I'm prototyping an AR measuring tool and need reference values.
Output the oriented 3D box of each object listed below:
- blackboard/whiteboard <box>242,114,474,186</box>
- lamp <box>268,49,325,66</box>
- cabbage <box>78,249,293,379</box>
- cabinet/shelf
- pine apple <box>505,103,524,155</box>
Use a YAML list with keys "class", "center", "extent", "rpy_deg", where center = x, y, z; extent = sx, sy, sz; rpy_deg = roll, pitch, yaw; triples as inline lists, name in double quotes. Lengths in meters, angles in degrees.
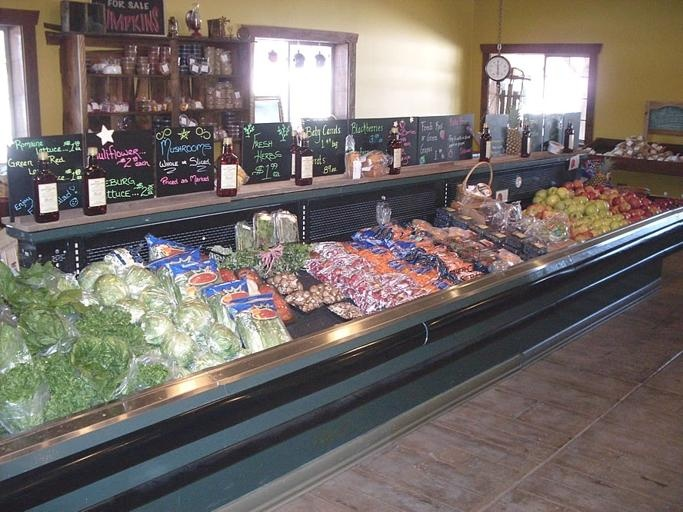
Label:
- class: "blackboard/whiteboard"
  center: [0.217, -0.787, 3.421]
  extent: [1.935, 0.412, 0.213]
  rpy_deg: [-12, 23, -36]
- class: "lamp"
  center: [-0.691, -3.019, 7.396]
  extent: [0.836, 0.236, 0.330]
  rpy_deg: [-3, 19, -13]
- class: "cabbage"
  center: [-0.644, 0.181, 1.921]
  extent: [0.616, 0.157, 0.536]
  rpy_deg: [23, 22, 34]
- class: "cabinet/shelf"
  center: [-2.296, -2.193, 6.134]
  extent: [2.297, 1.185, 0.580]
  rpy_deg: [-14, 25, -39]
- class: "pine apple"
  center: [1.572, -1.149, 4.429]
  extent: [0.142, 0.403, 0.358]
  rpy_deg: [7, 20, 16]
